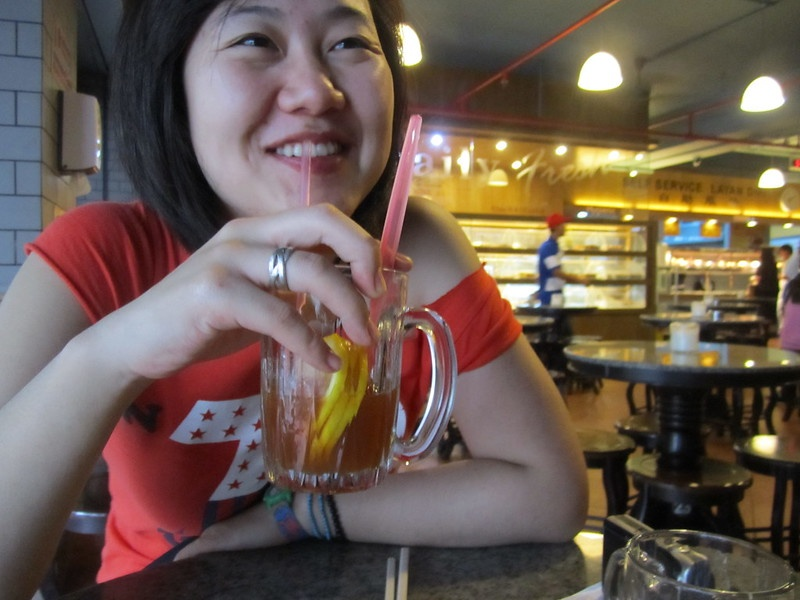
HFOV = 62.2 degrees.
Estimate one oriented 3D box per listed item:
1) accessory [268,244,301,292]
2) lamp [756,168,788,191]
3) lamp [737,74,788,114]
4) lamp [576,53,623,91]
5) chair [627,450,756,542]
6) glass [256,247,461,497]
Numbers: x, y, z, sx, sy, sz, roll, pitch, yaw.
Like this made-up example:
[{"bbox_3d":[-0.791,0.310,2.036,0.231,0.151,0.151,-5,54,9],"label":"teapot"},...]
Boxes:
[{"bbox_3d":[-0.195,-0.053,1.110,0.042,0.071,0.044,-5,9,-30],"label":"accessory"},{"bbox_3d":[5.881,-1.939,10.553,0.334,0.278,0.337,2,8,22],"label":"lamp"},{"bbox_3d":[3.692,-2.092,6.910,0.508,0.191,0.485,-12,-7,-36],"label":"lamp"},{"bbox_3d":[1.862,-2.135,6.279,0.423,0.335,0.417,-9,16,-39],"label":"lamp"},{"bbox_3d":[1.344,0.908,3.166,0.506,0.563,0.518,1,-4,2],"label":"chair"},{"bbox_3d":[-0.059,0.167,1.255,0.380,0.374,0.245,2,-4,-24],"label":"glass"}]
